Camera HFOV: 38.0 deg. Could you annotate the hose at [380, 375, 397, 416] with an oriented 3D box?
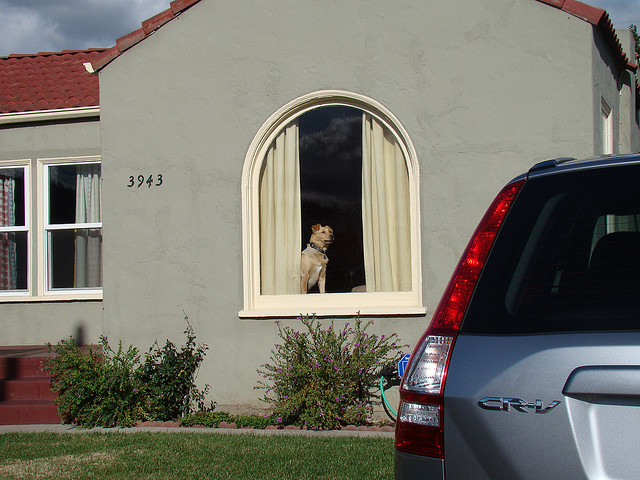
[{"bbox_3d":[0.821,1.960,11.805,0.020,0.421,0.314,-13,-11,25],"label":"hose"}]
